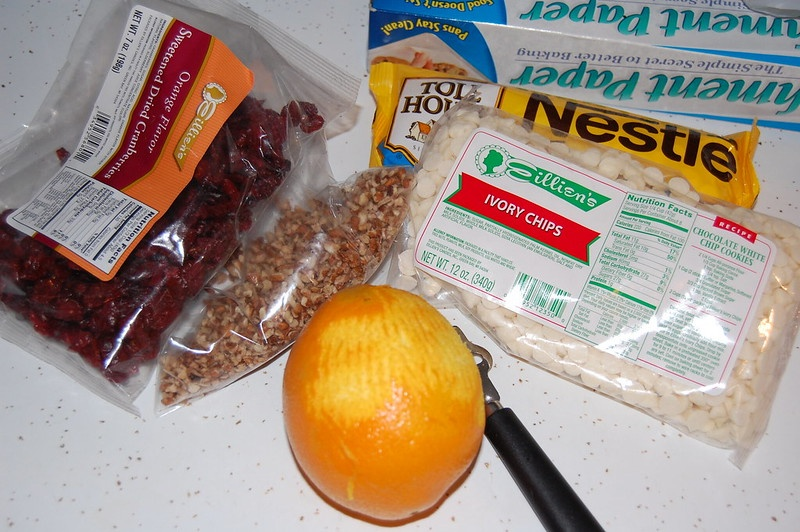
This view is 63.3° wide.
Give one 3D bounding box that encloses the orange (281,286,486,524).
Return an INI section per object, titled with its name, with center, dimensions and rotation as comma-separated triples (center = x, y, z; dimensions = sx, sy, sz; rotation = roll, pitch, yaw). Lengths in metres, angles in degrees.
[orange]
center = -0.028, 0.226, 1.089
dimensions = 0.329, 0.320, 0.403
rotation = 5, 26, -14
